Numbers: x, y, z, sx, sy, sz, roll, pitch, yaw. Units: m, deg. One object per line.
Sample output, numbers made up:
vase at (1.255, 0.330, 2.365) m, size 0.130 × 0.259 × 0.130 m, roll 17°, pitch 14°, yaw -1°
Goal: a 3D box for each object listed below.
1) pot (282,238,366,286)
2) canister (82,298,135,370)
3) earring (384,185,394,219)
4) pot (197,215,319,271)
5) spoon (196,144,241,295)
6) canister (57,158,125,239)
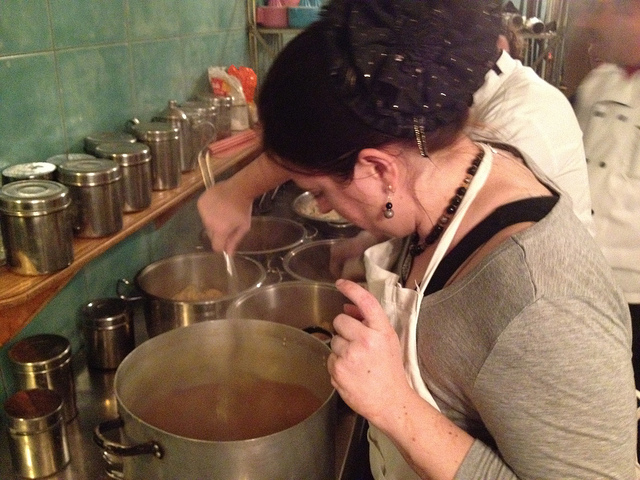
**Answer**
pot at (0.002, 0.061, 2.122) m, size 0.289 × 0.204 × 0.493 m, roll 1°, pitch 16°, yaw -5°
canister at (-0.640, 0.300, 1.719) m, size 0.183 × 0.158 × 0.189 m, roll 4°, pitch 8°, yaw 39°
earring at (0.143, -0.078, 1.141) m, size 0.021 × 0.068 × 0.013 m, roll -1°, pitch 16°, yaw -11°
pot at (-0.188, -0.005, 2.213) m, size 0.341 × 0.128 × 0.249 m, roll 1°, pitch 24°, yaw -2°
spoon at (-0.335, -0.057, 1.842) m, size 0.061 × 0.567 × 0.080 m, roll -26°, pitch -19°, yaw 34°
canister at (-0.617, -0.116, 1.494) m, size 0.164 × 0.183 × 0.171 m, roll 8°, pitch 23°, yaw 5°
